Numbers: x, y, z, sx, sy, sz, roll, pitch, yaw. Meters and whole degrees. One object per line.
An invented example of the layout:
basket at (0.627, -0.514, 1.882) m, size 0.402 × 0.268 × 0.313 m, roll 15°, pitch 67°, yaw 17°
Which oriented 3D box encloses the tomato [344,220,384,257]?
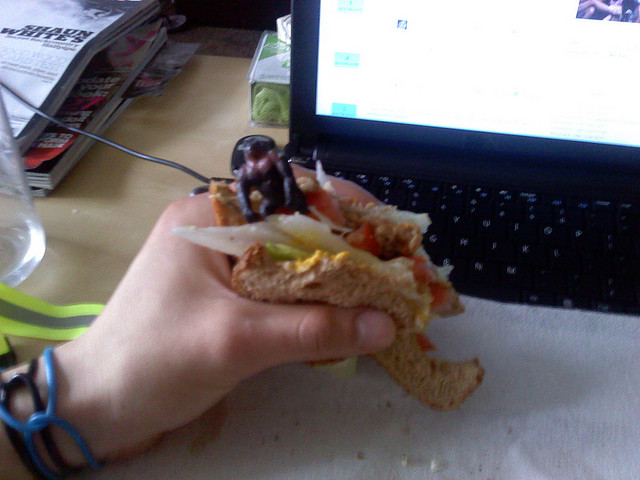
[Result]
tomato at (0.047, 0.000, 0.525) m, size 0.040 × 0.032 × 0.025 m, roll 42°, pitch 71°, yaw -25°

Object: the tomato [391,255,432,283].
tomato at (0.096, 0.030, 0.538) m, size 0.026 × 0.031 × 0.018 m, roll 35°, pitch 112°, yaw 39°

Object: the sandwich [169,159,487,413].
sandwich at (0.038, 0.034, 0.549) m, size 0.350 × 0.148 × 0.164 m, roll 27°, pitch 73°, yaw 9°
